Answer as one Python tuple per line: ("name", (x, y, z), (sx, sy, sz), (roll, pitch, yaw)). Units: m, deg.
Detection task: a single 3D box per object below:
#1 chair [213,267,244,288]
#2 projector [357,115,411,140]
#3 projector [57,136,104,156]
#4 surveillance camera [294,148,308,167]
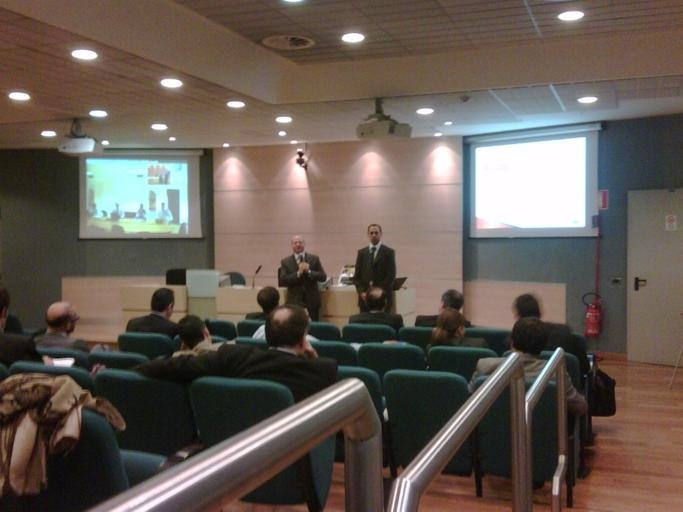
("chair", (-1.672, 0.318, 8.609), (0.306, 0.385, 0.326), (0, -7, -10))
("projector", (0.462, -1.519, 6.769), (0.452, 0.182, 0.347), (1, 0, 43))
("projector", (-3.408, -1.456, 7.481), (0.356, 0.155, 0.263), (3, -1, 13))
("surveillance camera", (-0.667, -1.641, 9.522), (0.245, 0.457, 0.244), (-2, 7, -8))
